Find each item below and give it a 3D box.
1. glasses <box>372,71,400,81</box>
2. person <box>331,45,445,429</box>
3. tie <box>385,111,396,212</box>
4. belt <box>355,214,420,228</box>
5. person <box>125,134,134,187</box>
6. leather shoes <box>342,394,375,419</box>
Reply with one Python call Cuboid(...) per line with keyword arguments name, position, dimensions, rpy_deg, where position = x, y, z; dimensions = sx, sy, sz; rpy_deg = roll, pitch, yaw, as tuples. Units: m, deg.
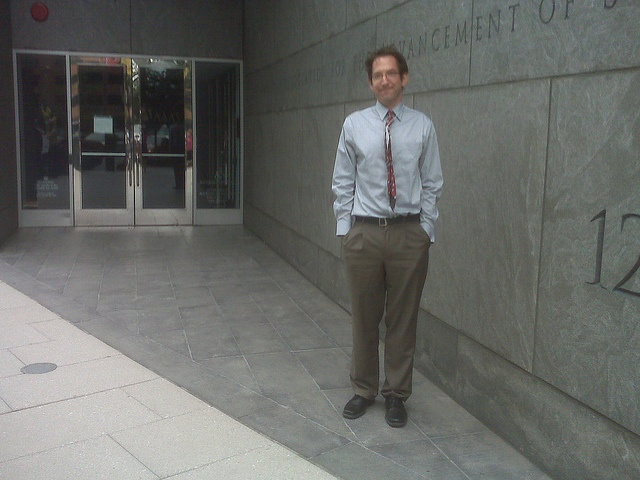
Cuboid(name="glasses", position=(0.429, -1.069, 3.354), dimensions=(0.171, 0.045, 0.054), rpy_deg=(1, 12, 7))
Cuboid(name="person", position=(0.432, 0.000, 3.484), dimensions=(0.738, 2.504, 0.399), rpy_deg=(2, 11, 15))
Cuboid(name="tie", position=(0.453, -0.500, 3.320), dimensions=(0.065, 0.651, 0.057), rpy_deg=(0, 9, -22))
Cuboid(name="belt", position=(0.444, -0.136, 3.402), dimensions=(0.423, 0.078, 0.098), rpy_deg=(2, 12, 10))
Cuboid(name="person", position=(-3.866, -1.641, 10.490), dimensions=(0.182, 1.087, 0.076), rpy_deg=(-5, 11, -21))
Cuboid(name="leather shoes", position=(0.279, 1.180, 3.661), dimensions=(0.090, 0.125, 0.261), rpy_deg=(-1, -7, 34))
